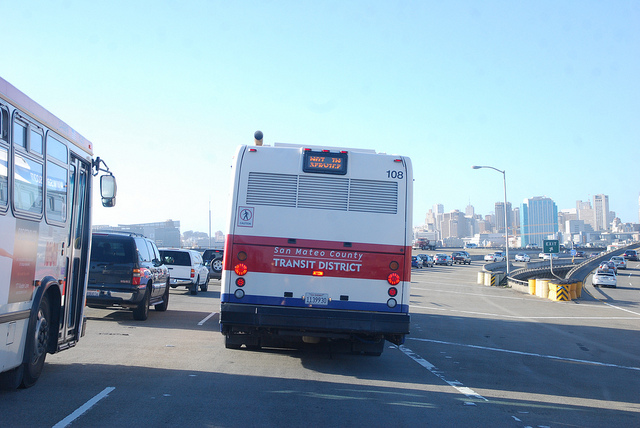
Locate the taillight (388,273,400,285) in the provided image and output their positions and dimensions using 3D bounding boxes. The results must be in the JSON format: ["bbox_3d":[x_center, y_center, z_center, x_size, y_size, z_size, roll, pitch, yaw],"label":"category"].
[{"bbox_3d":[1.510,1.336,10.553,0.225,0.243,0.057,10,1,4],"label":"taillight"}]

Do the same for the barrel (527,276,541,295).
[{"bbox_3d":[16.173,5.445,39.122,0.518,1.150,2.311,2,-3,23],"label":"barrel"}]

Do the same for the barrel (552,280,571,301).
[{"bbox_3d":[16.602,5.258,35.152,1.153,1.178,1.165,-2,-6,32],"label":"barrel"}]

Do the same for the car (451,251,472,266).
[{"bbox_3d":[24.403,7.882,89.230,2.457,1.678,5.023,1,1,12],"label":"car"}]

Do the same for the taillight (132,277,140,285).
[{"bbox_3d":[-5.392,1.941,15.033,0.222,0.234,0.030,2,2,-9],"label":"taillight"}]

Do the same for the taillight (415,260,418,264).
[{"bbox_3d":[12.563,6.087,66.452,0.244,0.308,0.570,1,-4,40],"label":"taillight"}]

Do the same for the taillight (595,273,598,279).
[{"bbox_3d":[27.247,6.113,50.380,0.198,0.361,0.361,4,4,-4],"label":"taillight"}]

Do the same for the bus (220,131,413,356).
[{"bbox_3d":[-0.091,0.764,12.979,2.821,3.152,5.160,2,-2,0],"label":"bus"}]

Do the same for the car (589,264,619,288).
[{"bbox_3d":[28.368,6.395,50.866,1.797,1.549,2.952,1,-4,36],"label":"car"}]

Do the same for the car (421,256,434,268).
[{"bbox_3d":[15.396,6.538,73.042,1.256,1.299,2.383,1,7,8],"label":"car"}]

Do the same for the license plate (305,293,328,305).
[{"bbox_3d":[-0.070,1.721,10.478,0.466,0.224,0.020,3,-3,-4],"label":"license plate"}]

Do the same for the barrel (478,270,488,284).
[{"bbox_3d":[15.161,5.830,47.948,0.592,1.103,1.907,3,-3,8],"label":"barrel"}]

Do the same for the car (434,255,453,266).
[{"bbox_3d":[19.291,7.179,80.118,3.014,1.621,1.054,5,-3,-26],"label":"car"}]

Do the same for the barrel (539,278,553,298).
[{"bbox_3d":[16.339,5.258,36.643,1.025,1.760,1.101,0,-2,0],"label":"barrel"}]
